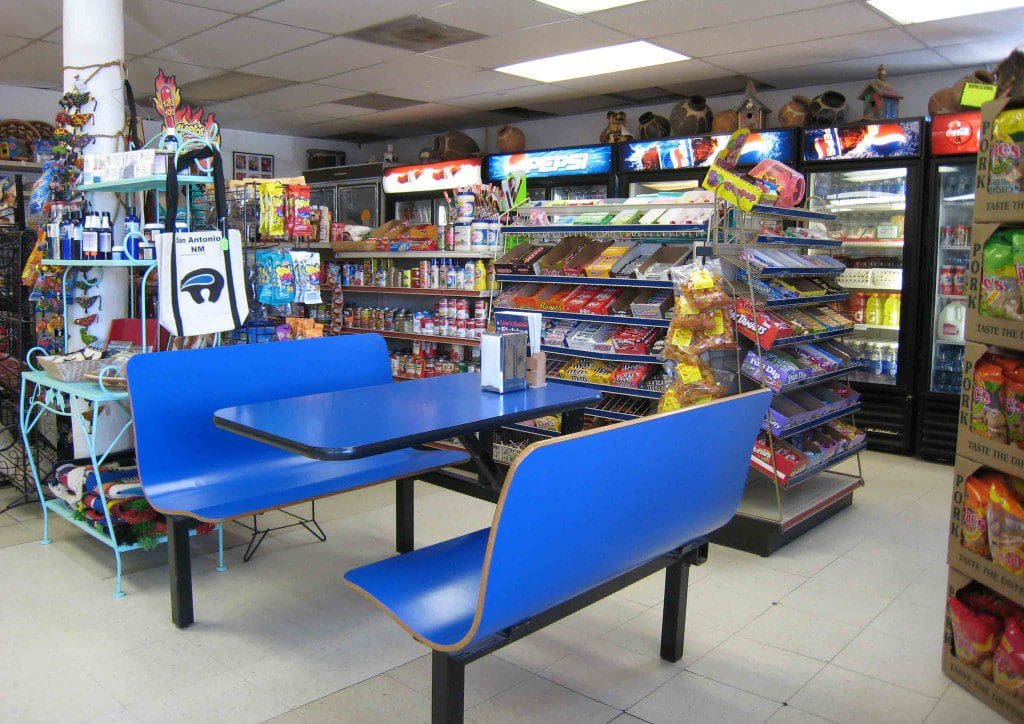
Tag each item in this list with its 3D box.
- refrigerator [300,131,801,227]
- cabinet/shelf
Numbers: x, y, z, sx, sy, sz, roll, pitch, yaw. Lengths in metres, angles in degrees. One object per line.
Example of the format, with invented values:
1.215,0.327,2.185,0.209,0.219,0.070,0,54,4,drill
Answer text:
0.358,-1.715,6.917,2.849,0.473,0.366,4,21,37,refrigerator
-0.790,0.341,3.957,3.563,1.513,2.704,6,9,41,cabinet/shelf
